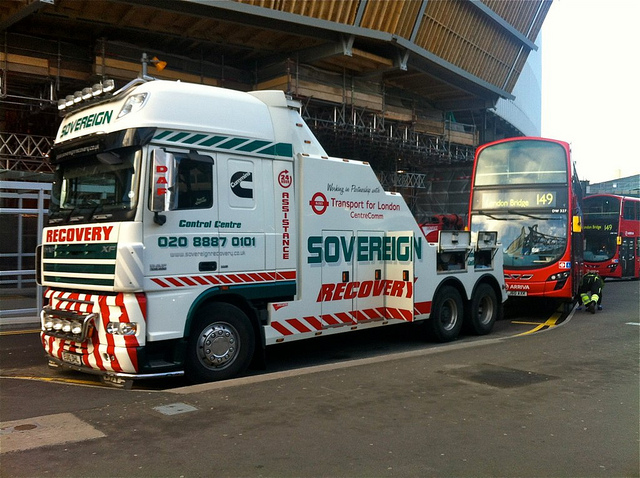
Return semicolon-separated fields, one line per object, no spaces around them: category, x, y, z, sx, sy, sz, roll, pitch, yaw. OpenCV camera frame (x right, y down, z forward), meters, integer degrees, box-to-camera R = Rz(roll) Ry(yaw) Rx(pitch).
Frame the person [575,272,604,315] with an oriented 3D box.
person;7.733;1.518;15.837;0.607;1.130;1.135;1;2;26

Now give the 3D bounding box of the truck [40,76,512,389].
truck;-0.455;0.264;11.214;9.118;4.451;3.531;4;-9;-42

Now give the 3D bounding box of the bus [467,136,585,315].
bus;5.843;-0.665;15.843;2.560;4.531;0.626;1;2;23

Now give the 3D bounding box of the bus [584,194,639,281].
bus;15.013;-0.164;28.179;3.488;4.303;1.608;-1;2;-28
